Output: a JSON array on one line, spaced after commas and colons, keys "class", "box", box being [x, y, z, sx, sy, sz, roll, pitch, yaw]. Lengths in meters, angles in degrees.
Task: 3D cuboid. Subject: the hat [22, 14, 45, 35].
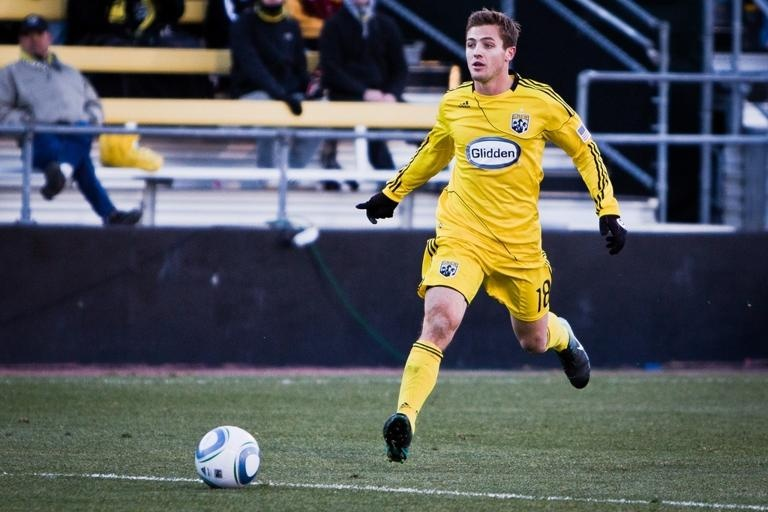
[{"class": "hat", "box": [-3.681, -2.435, 18.254, 0.272, 0.180, 0.203, -4, 14, -16]}]

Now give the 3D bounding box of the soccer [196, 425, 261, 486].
[{"class": "soccer", "box": [-1.339, 1.713, 14.893, 0.548, 0.492, 0.217, -2, 14, -8]}]
